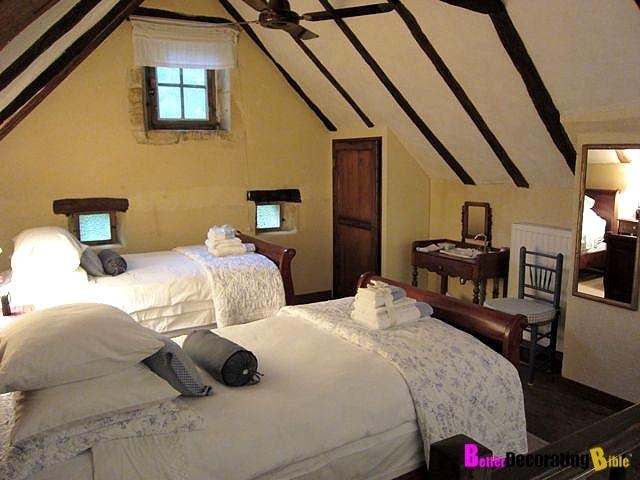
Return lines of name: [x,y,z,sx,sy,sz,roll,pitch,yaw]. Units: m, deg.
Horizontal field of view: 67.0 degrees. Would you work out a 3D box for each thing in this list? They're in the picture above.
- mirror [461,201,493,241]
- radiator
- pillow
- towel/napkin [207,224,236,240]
mirror: [1.669,-0.203,5.092,0.041,0.450,0.358,-13,19,-36]
radiator: [1.916,0.610,4.450,0.422,1.014,0.511,-8,15,-13]
pillow: [-2.214,0.043,3.873,0.442,0.454,0.137,-7,-26,-24]
towel/napkin: [-1.012,-0.079,4.893,0.203,0.084,0.194,-5,14,-24]
